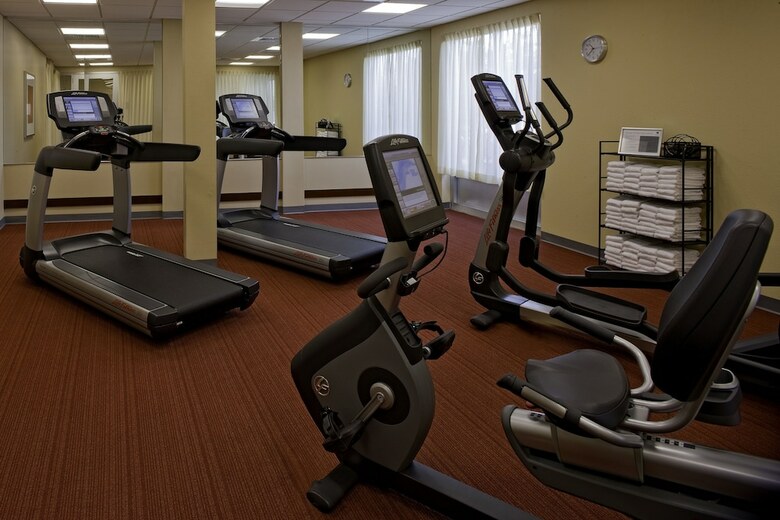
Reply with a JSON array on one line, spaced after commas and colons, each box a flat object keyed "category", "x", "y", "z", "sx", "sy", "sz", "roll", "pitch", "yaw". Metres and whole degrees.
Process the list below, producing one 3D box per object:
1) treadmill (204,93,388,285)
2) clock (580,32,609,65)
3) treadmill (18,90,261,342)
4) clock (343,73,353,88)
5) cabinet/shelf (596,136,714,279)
[{"category": "treadmill", "x": -1.064, "y": -1.012, "z": 6.686, "sx": 1.400, "sy": 2.434, "sz": 3.105, "roll": -10, "pitch": 16, "yaw": -43}, {"category": "clock", "x": 2.318, "y": -2.427, "z": 5.898, "sx": 0.072, "sy": 0.301, "sz": 0.289, "roll": -1, "pitch": 12, "yaw": -33}, {"category": "treadmill", "x": -2.328, "y": -0.573, "z": 4.706, "sx": 2.312, "sy": 1.853, "sz": 1.101, "roll": 14, "pitch": 15, "yaw": 33}, {"category": "clock", "x": -0.826, "y": -3.551, "z": 10.203, "sx": 0.235, "sy": 0.275, "sz": 0.071, "roll": 14, "pitch": 14, "yaw": 37}, {"category": "cabinet/shelf", "x": 2.722, "y": -0.537, "z": 5.162, "sx": 0.415, "sy": 1.349, "sz": 1.121, "roll": -8, "pitch": 11, "yaw": -7}]
